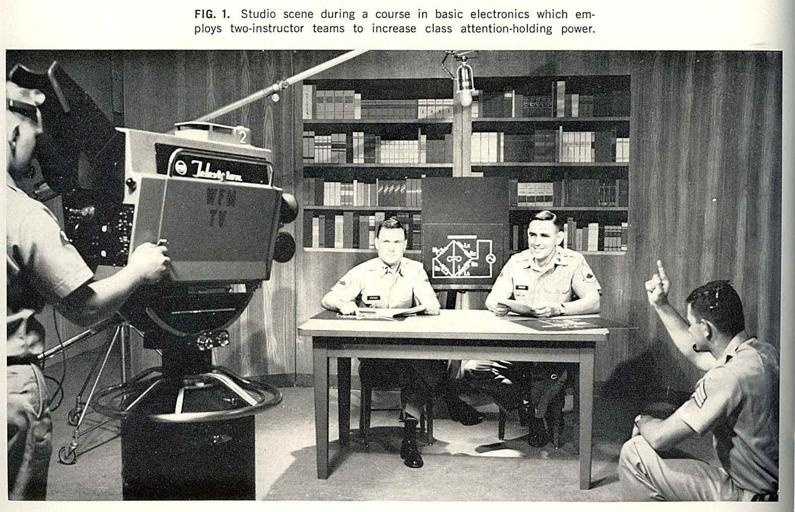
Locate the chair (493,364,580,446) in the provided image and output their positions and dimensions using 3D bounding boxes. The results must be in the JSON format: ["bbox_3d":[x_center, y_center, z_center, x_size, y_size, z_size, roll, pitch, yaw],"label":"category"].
[{"bbox_3d":[0.774,0.866,4.509,0.526,0.547,0.431,-2,-1,9],"label":"chair"}]

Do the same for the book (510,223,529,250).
[{"bbox_3d":[0.769,-0.121,4.560,0.141,0.200,0.141,1,0,5],"label":"book"}]

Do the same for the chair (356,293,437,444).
[{"bbox_3d":[-0.057,0.862,4.544,0.379,0.534,0.380,-1,2,-41],"label":"chair"}]

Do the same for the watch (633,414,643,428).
[{"bbox_3d":[1.494,1.006,4.453,0.043,0.077,0.018,16,0,3],"label":"watch"}]

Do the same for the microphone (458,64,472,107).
[{"bbox_3d":[0.424,-1.053,4.462,0.096,0.215,0.130,0,-12,5],"label":"microphone"}]

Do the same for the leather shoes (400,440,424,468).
[{"bbox_3d":[0.087,1.198,4.400,0.180,0.184,0.100,1,0,10],"label":"leather shoes"}]

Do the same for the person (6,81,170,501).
[{"bbox_3d":[-1.997,0.229,4.432,0.843,2.445,0.593,3,-12,-10],"label":"person"}]

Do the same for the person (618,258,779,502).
[{"bbox_3d":[1.990,1.131,4.772,1.003,2.004,0.919,-1,4,25],"label":"person"}]
